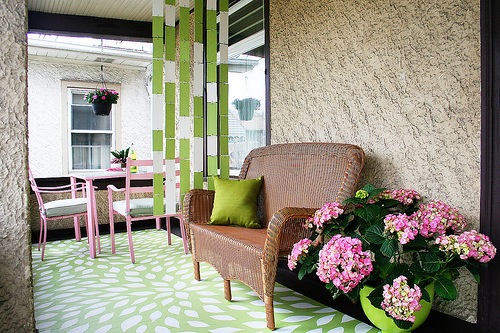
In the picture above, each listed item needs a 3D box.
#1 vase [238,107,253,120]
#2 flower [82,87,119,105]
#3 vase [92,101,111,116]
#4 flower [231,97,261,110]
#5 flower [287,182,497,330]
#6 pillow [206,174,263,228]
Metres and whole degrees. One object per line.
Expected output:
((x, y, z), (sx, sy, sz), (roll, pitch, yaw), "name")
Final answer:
((-0.057, -0.624, 4.287), (0.174, 0.120, 0.152), (-1, -3, 7), "vase")
((-2.137, -1.033, 5.397), (0.425, 0.234, 0.391), (3, 4, 34), "flower")
((-2.218, -0.860, 5.434), (0.208, 0.128, 0.205), (-1, -7, -1), "vase")
((-0.018, -0.718, 4.241), (0.232, 0.074, 0.198), (0, 1, -17), "flower")
((0.874, 0.510, 2.693), (1.099, 0.852, 1.090), (-7, -3, -2), "flower")
((-0.118, 0.314, 3.200), (0.462, 0.445, 0.181), (3, -9, 12), "pillow")
